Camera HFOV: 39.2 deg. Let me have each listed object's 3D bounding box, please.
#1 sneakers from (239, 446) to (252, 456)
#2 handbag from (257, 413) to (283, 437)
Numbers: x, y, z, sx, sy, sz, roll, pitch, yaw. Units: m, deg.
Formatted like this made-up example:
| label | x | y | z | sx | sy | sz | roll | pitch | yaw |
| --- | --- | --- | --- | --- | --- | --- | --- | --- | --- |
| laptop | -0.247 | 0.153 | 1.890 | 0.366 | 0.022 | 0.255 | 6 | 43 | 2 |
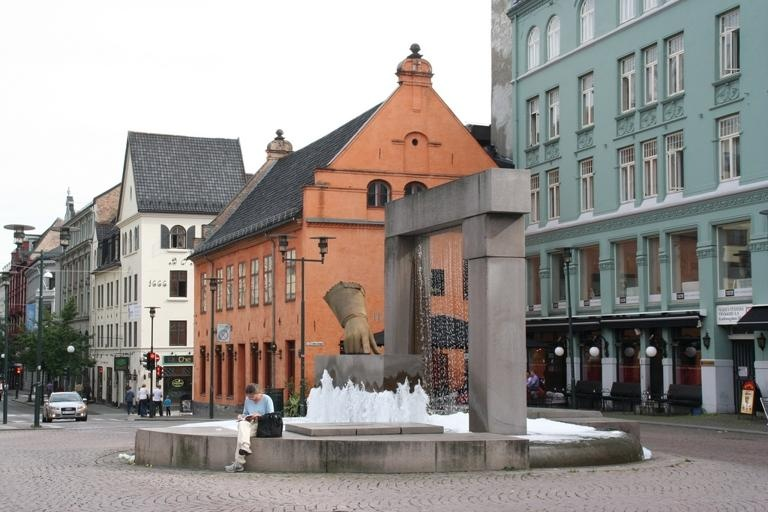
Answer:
| label | x | y | z | sx | sy | sz | roll | pitch | yaw |
| --- | --- | --- | --- | --- | --- | --- | --- | --- | --- |
| sneakers | -3.436 | 4.927 | 27.150 | 0.298 | 0.154 | 0.211 | 1 | 20 | 6 |
| handbag | -2.882 | 4.387 | 27.519 | 0.577 | 0.586 | 0.597 | 5 | -23 | -16 |
